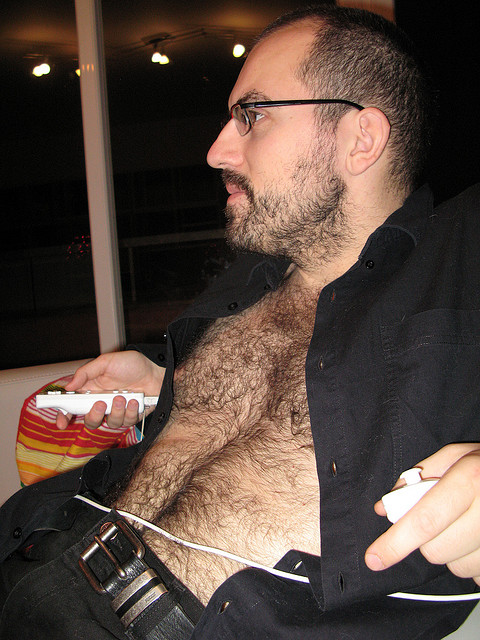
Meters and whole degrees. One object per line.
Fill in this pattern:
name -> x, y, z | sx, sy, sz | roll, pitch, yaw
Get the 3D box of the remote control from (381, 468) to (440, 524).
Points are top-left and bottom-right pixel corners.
remote control -> 0.184, 0.188, 0.618 | 0.051, 0.045, 0.055 | 3, 10, 36

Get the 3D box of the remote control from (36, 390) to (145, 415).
remote control -> -0.323, 0.177, 1.245 | 0.223, 0.058, 0.110 | -5, 9, -15
